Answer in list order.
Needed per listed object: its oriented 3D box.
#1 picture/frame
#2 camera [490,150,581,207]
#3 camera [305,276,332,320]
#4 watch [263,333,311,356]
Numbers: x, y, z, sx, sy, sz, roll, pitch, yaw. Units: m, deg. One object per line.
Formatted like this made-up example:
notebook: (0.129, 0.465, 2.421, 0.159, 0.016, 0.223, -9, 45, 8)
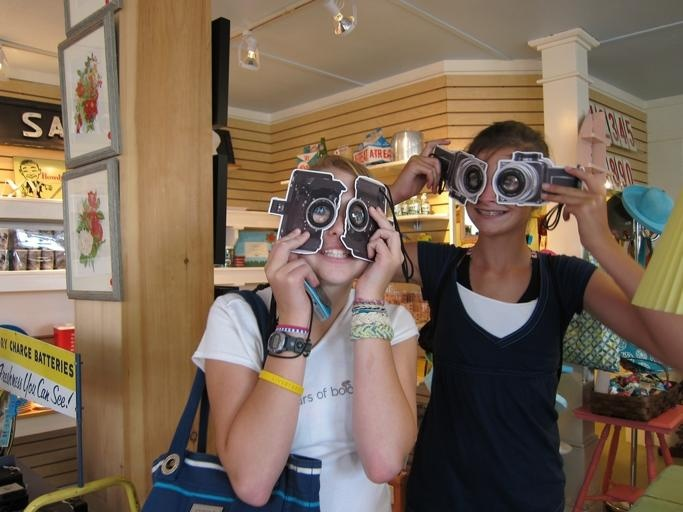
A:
picture/frame: (-1.107, -0.468, 2.384, 0.134, 1.335, 0.525, -2, 3, -41)
camera: (0.692, -0.284, 1.949, 0.263, 0.212, 0.116, 3, -4, 5)
camera: (-0.082, 0.128, 1.682, 0.042, 0.166, 0.049, -13, -27, -20)
watch: (-0.161, 0.266, 1.588, 0.105, 0.070, 0.106, 15, -12, -36)
